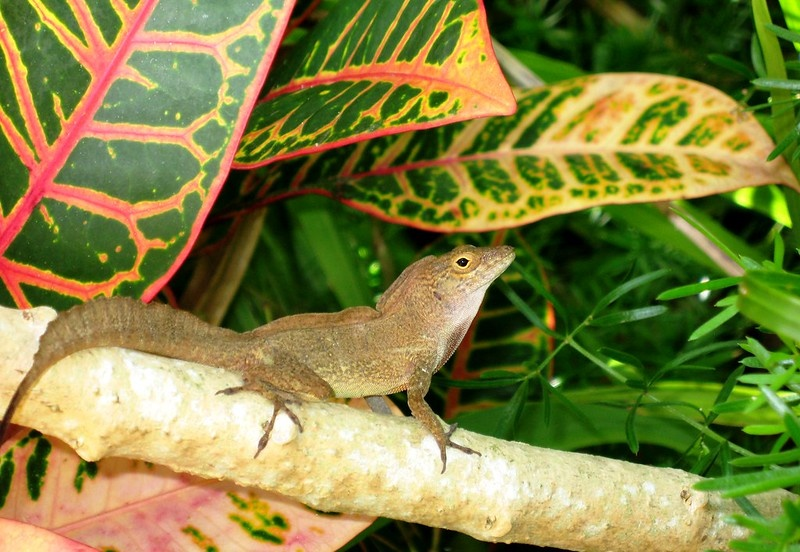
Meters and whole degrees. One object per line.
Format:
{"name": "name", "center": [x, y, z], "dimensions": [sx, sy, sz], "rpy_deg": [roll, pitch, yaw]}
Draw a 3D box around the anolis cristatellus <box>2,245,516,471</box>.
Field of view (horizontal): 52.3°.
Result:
{"name": "anolis cristatellus", "center": [-0.207, 0.120, 1.414], "dimensions": [0.826, 0.353, 0.347], "rpy_deg": [-7, 25, -24]}
